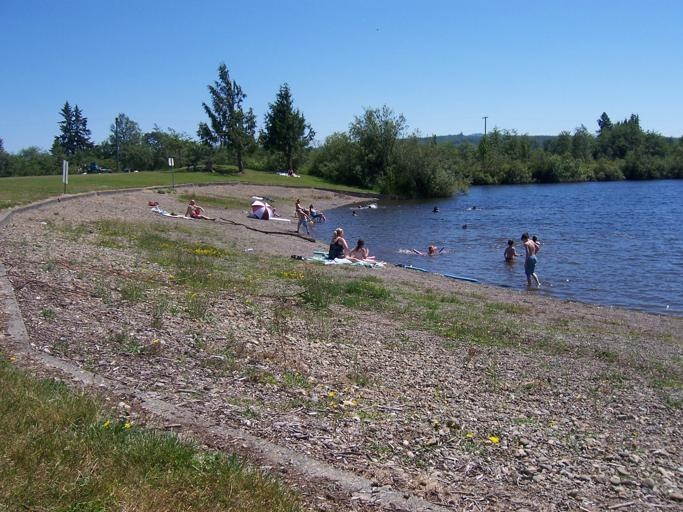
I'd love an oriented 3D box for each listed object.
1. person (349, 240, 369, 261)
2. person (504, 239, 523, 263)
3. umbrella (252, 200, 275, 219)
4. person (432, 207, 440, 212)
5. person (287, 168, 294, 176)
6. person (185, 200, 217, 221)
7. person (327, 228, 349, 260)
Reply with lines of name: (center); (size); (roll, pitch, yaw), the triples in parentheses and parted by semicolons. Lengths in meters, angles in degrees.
person: (0.730, -0.359, 31.367); (0.851, 0.829, 1.055); (3, 8, -13)
person: (8.836, -0.272, 37.197); (0.672, 1.594, 0.548); (14, 23, 32)
umbrella: (-5.086, -2.813, 44.914); (1.227, 0.985, 1.440); (5, 8, -5)
person: (7.971, -4.023, 61.656); (0.679, 0.358, 0.699); (-3, 2, -29)
person: (-7.088, -11.225, 95.968); (0.315, 1.013, 0.777); (-4, -4, 20)
person: (-7.878, -2.480, 38.729); (1.359, 0.805, 1.998); (2, 9, -23)
person: (-0.255, -0.588, 34.145); (1.003, 1.481, 0.995); (20, 30, 34)
